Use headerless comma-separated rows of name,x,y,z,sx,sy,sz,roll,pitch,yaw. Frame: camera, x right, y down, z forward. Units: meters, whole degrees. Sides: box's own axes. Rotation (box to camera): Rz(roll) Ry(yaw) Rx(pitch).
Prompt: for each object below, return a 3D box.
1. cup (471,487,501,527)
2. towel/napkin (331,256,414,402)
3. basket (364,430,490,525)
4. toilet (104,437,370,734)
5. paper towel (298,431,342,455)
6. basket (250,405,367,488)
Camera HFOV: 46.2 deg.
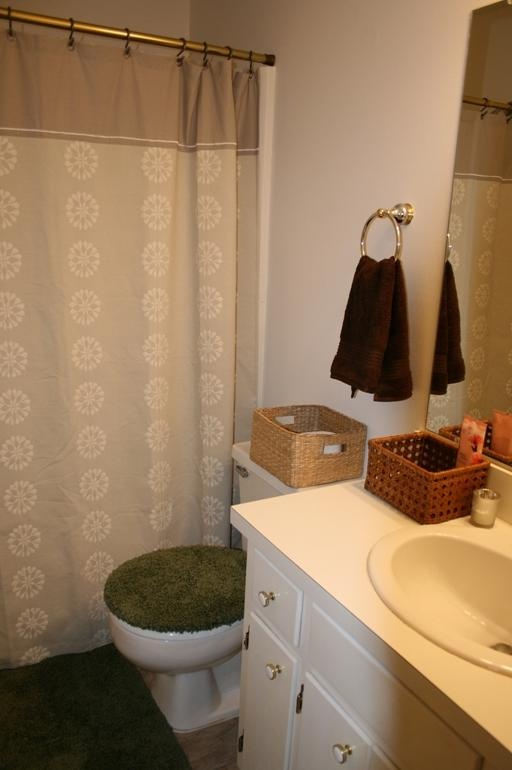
cup,0.440,0.234,1.180,0.057,0.074,0.063,-2,9,-16
towel/napkin,0.256,-0.130,1.336,0.132,0.307,0.175,-4,12,-12
basket,0.376,0.153,1.265,0.160,0.137,0.223,-4,14,-23
toilet,-0.110,0.593,1.770,0.625,0.715,0.391,-6,18,-29
paper towel,0.189,0.144,1.569,0.062,0.033,0.089,0,11,-6
basket,0.132,0.153,1.661,0.240,0.166,0.317,-7,14,-26
